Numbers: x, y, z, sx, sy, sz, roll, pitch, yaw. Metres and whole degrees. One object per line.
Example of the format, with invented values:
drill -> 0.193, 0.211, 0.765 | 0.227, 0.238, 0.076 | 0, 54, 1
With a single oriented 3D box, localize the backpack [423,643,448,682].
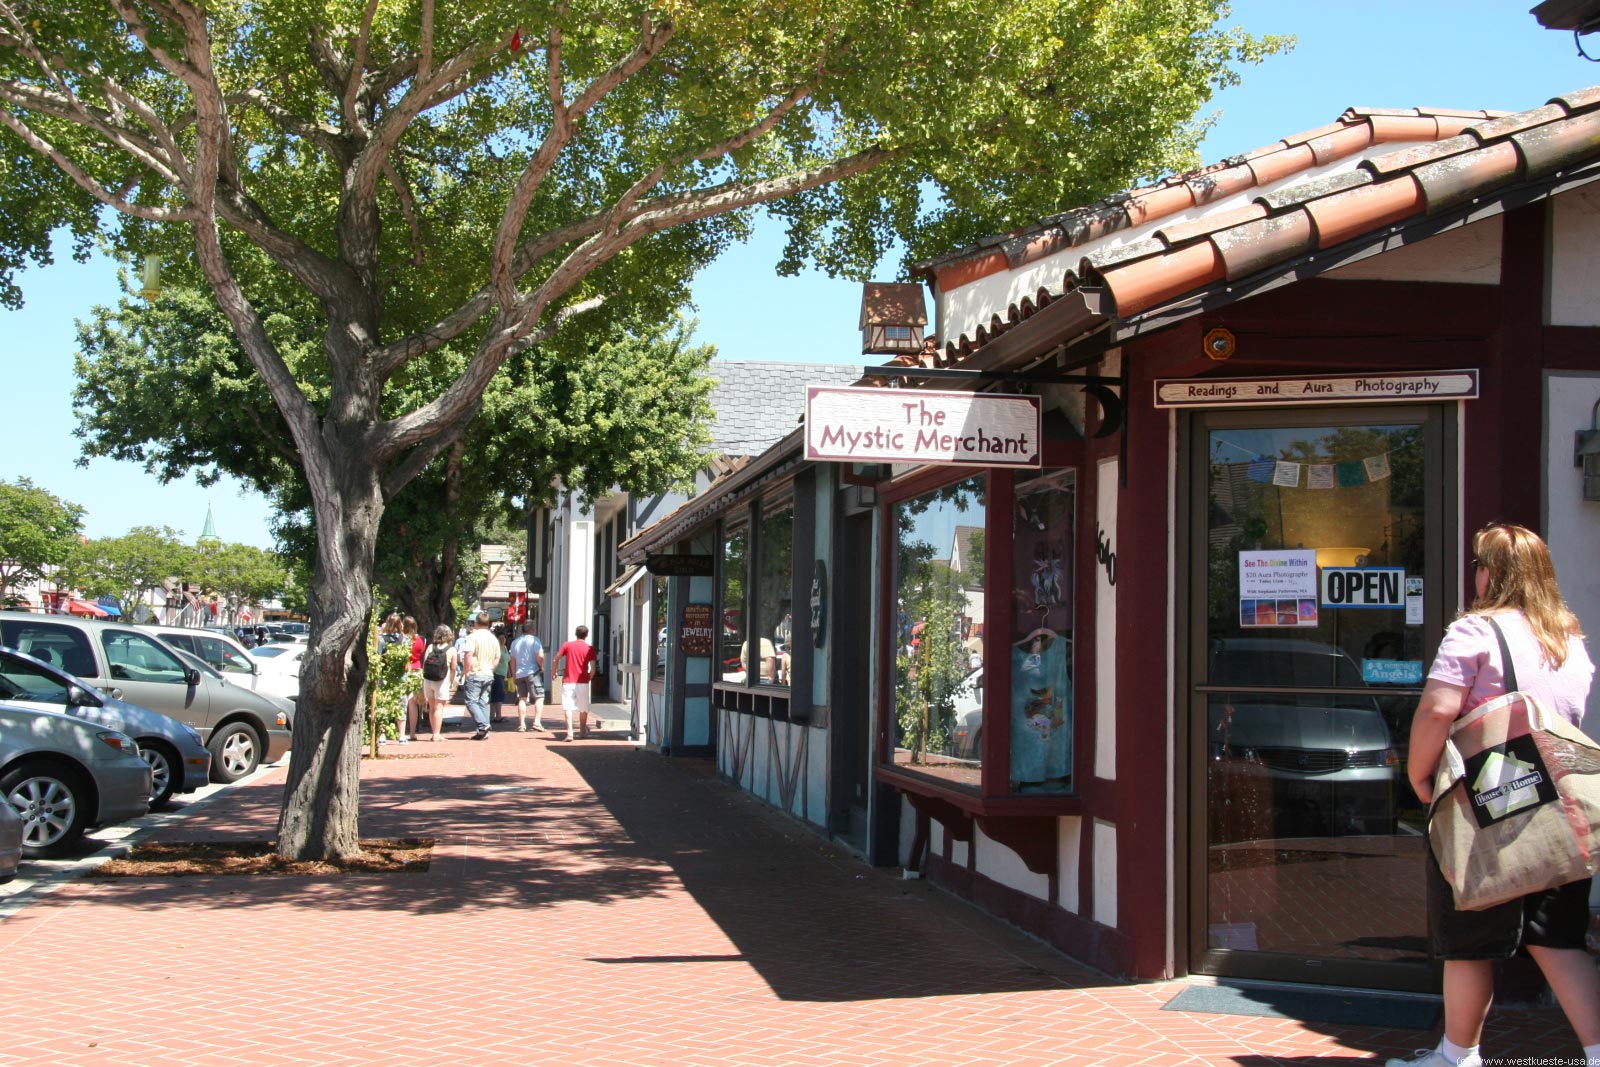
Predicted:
backpack -> -6.468, 2.274, 26.195 | 0.371, 0.489, 0.704 | 1, -2, -24

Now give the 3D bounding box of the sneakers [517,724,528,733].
sneakers -> -5.811, 4.056, 30.616 | 0.196, 0.226, 0.224 | -7, -5, -4

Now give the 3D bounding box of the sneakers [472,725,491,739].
sneakers -> -6.002, 3.724, 27.659 | 0.179, 0.262, 0.600 | 6, -4, -4
